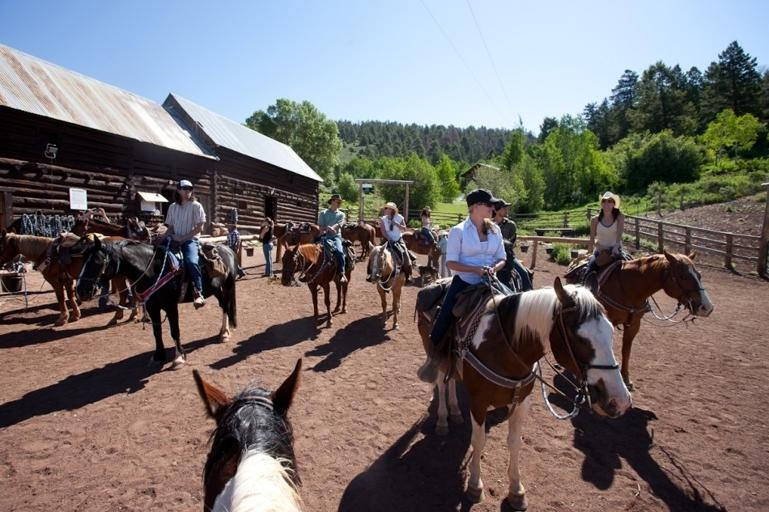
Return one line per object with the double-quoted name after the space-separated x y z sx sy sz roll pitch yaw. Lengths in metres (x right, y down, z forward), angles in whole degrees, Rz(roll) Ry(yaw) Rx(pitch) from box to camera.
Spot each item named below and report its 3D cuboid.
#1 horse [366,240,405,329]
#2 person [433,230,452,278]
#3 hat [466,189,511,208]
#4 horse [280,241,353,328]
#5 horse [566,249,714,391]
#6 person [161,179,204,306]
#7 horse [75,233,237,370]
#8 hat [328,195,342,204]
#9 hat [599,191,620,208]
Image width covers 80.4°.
0.133 0.837 13.421 1.012 2.508 2.016 -2 6 2 "horse"
1.996 -0.109 16.490 0.355 1.653 1.560 1 -1 25 "person"
1.947 -1.076 8.567 0.766 0.343 0.517 1 11 -5 "hat"
-1.877 0.819 13.280 0.959 2.419 2.340 0 6 26 "horse"
5.593 1.461 10.893 1.083 2.928 4.186 -2 -1 -18 "horse"
-4.819 -0.311 11.140 1.188 3.067 0.944 2 3 30 "person"
-5.171 1.070 11.422 1.008 3.210 4.127 7 10 34 "horse"
-1.423 -1.772 13.665 0.355 0.212 0.363 -16 -27 40 "hat"
5.330 -1.329 10.868 0.358 0.387 0.618 1 7 33 "hat"
